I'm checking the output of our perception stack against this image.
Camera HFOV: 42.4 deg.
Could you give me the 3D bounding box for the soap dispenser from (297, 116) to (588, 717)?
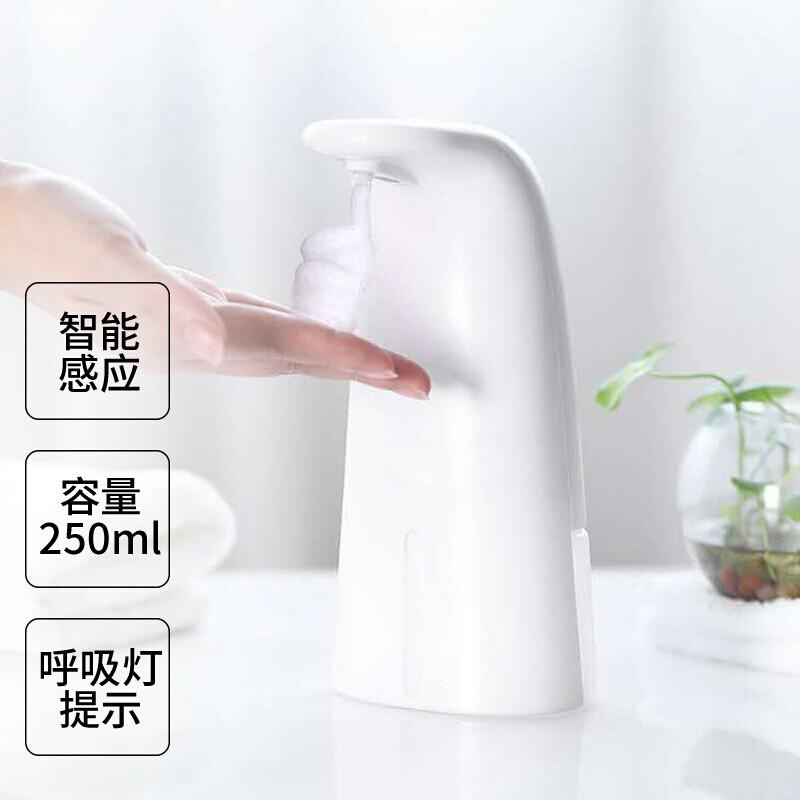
[{"bbox_3d":[0.022,0.011,0.587,0.169,0.333,0.068,1,8,9],"label":"soap dispenser"}]
